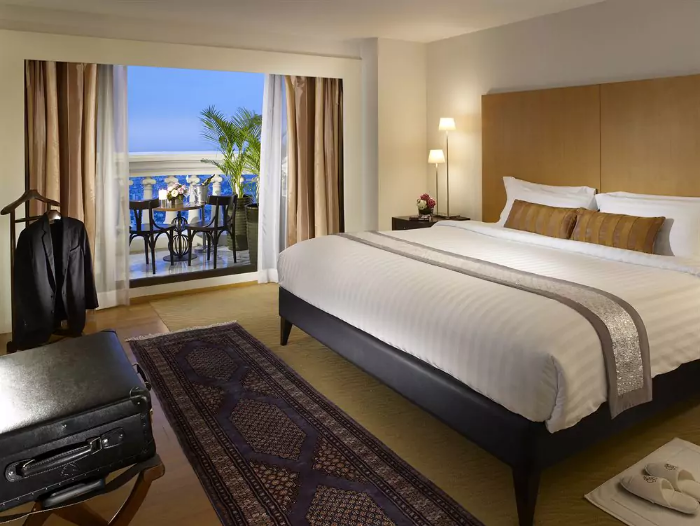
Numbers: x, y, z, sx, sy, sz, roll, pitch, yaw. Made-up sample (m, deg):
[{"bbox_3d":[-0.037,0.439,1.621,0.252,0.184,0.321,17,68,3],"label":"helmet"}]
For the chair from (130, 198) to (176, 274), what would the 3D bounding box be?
[{"bbox_3d":[-2.525,-0.381,6.232,0.574,0.903,0.923,-7,15,-24],"label":"chair"}]

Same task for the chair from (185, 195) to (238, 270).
[{"bbox_3d":[-1.827,-0.437,6.477,0.709,0.920,0.891,-4,14,-13],"label":"chair"}]

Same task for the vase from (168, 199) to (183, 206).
[{"bbox_3d":[-2.259,-0.789,6.339,0.107,0.072,0.109,3,5,37],"label":"vase"}]

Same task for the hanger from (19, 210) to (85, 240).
[{"bbox_3d":[-2.289,-0.281,3.696,0.310,0.185,0.054,-9,17,-43],"label":"hanger"}]

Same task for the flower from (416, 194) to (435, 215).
[{"bbox_3d":[0.916,-0.711,5.914,0.204,0.264,0.234,-1,2,-22],"label":"flower"}]

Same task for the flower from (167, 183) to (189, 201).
[{"bbox_3d":[-2.293,-0.934,6.465,0.216,0.089,0.243,-8,30,-17],"label":"flower"}]
